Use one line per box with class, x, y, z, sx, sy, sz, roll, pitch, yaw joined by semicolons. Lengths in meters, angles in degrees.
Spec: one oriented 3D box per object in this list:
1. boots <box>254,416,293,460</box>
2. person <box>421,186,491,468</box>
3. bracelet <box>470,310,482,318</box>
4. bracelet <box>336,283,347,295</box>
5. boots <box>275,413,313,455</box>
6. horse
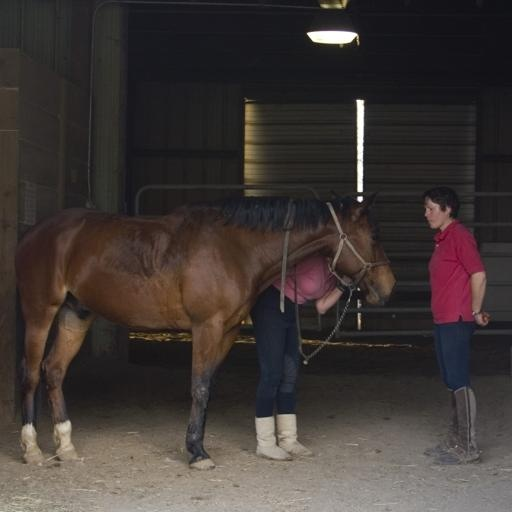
boots;0.119;1.108;6.552;0.258;0.244;0.114;-10;-15;28
person;1.221;0.407;6.555;0.358;1.636;0.375;0;6;-4
bracelet;1.311;0.346;6.460;0.034;0.040;0.101;-1;-11;19
bracelet;0.528;0.203;6.586;0.073;0.044;0.069;-6;-20;32
boots;0.239;1.103;6.624;0.255;0.246;0.130;6;8;42
horse;-0.344;0.475;6.614;2.293;1.681;0.587;1;1;9
